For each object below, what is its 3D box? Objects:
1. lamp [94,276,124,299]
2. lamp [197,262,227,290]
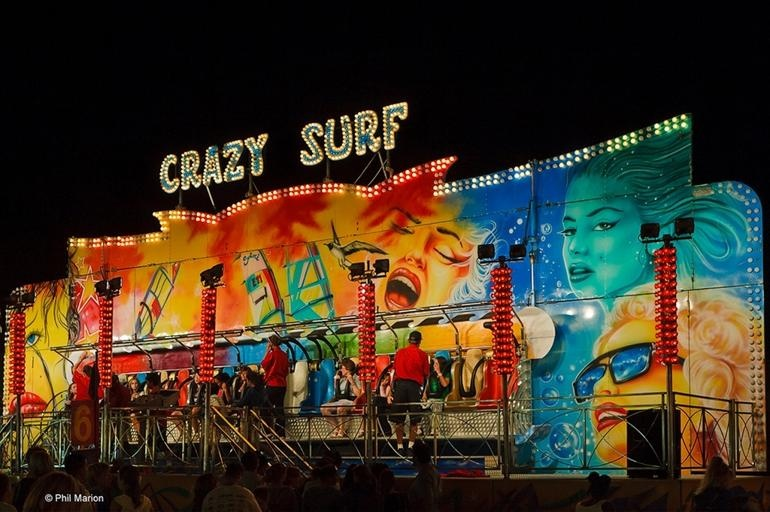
[{"bbox_3d":[-8.253,0.917,33.108,0.662,0.682,0.891,4,-17,-16],"label":"lamp"},{"bbox_3d":[-5.001,0.621,31.960,0.954,0.750,0.728,1,-1,28],"label":"lamp"}]
